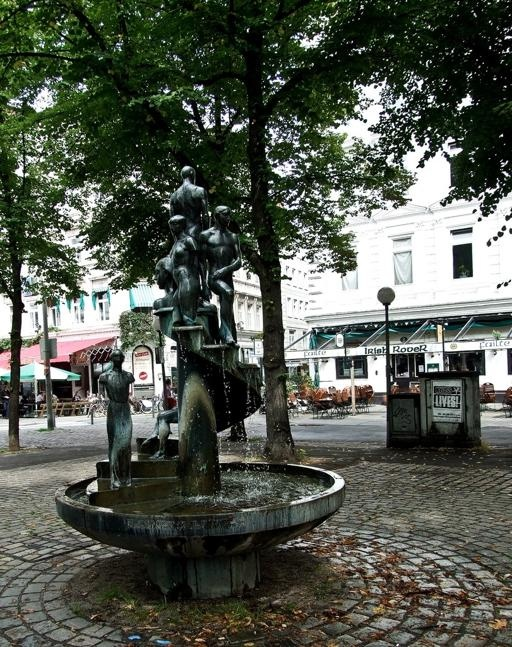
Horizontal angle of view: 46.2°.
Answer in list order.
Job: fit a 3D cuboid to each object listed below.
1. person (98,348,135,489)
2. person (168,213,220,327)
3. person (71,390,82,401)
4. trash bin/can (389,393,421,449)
[{"bbox_3d":[-1.097,0.745,4.729,0.265,1.065,0.415,-2,-5,-1],"label":"person"},{"bbox_3d":[-0.636,-0.493,5.650,0.400,1.094,0.545,-3,-6,8],"label":"person"},{"bbox_3d":[-11.857,4.766,39.793,0.310,0.954,0.764,15,-16,-40],"label":"person"},{"bbox_3d":[3.284,2.130,13.149,0.721,1.140,0.676,-8,-34,25],"label":"trash bin/can"}]
